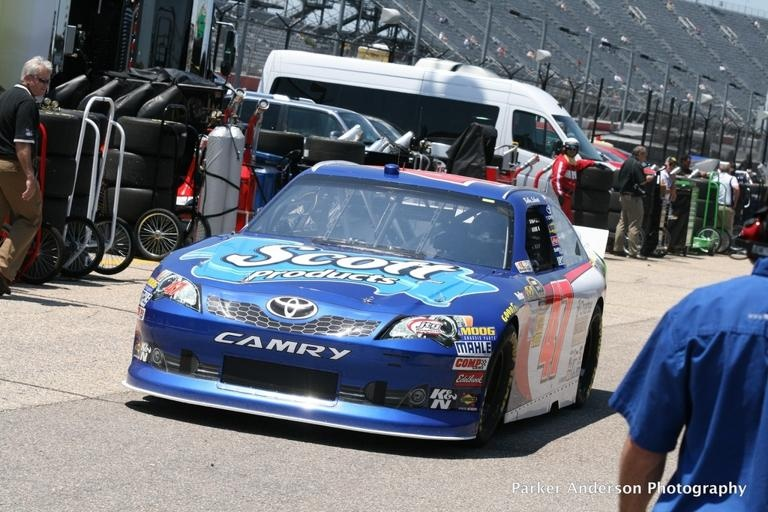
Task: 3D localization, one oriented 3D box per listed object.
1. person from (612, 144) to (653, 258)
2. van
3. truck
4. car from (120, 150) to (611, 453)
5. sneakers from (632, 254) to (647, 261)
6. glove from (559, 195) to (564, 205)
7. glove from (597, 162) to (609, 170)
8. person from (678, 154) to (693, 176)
[{"bbox_3d":[6.391,-1.396,20.800,0.735,2.838,1.387,9,7,18],"label":"person"},{"bbox_3d":[-1.345,-2.953,18.078,4.133,1.673,1.964,2,10,11],"label":"van"},{"bbox_3d":[1.219,-3.951,23.771,8.696,3.966,4.089,6,14,10],"label":"truck"},{"bbox_3d":[0.280,0.307,6.531,2.019,1.158,3.327,7,3,24],"label":"car"},{"bbox_3d":[6.862,0.039,21.677,0.299,0.124,0.105,3,32,-10],"label":"sneakers"},{"bbox_3d":[3.946,-1.223,17.984,0.133,0.182,0.058,-8,6,-27],"label":"glove"},{"bbox_3d":[5.646,-2.310,20.787,0.193,0.068,0.232,12,14,3],"label":"glove"},{"bbox_3d":[9.092,-2.713,24.237,0.270,0.616,0.821,9,7,18],"label":"person"}]
